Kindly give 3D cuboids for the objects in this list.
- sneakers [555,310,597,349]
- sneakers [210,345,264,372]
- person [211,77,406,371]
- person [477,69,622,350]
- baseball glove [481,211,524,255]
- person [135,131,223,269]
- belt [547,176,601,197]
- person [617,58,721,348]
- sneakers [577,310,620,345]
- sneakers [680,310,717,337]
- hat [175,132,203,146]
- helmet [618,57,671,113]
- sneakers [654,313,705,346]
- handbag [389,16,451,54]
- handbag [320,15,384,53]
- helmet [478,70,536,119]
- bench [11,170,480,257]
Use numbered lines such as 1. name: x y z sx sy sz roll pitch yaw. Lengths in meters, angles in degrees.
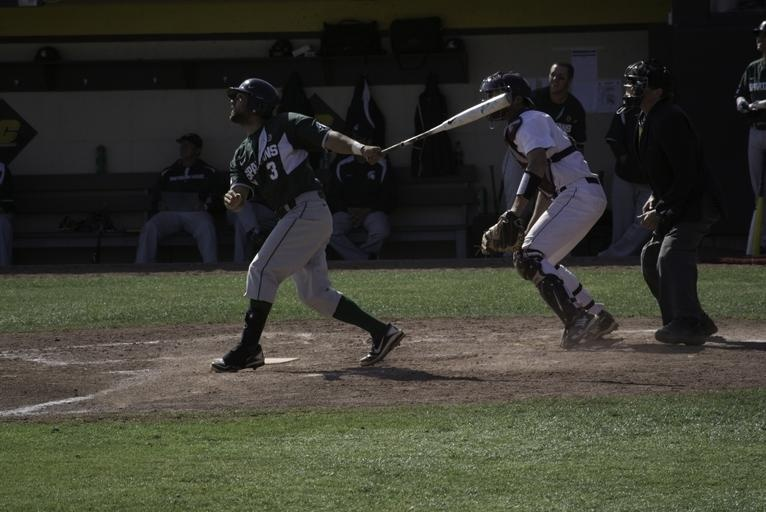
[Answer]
1. sneakers: 1.608 0.605 8.984 0.285 0.306 0.126 -1 14 -2
2. sneakers: -1.095 0.791 8.542 0.461 0.198 0.168 1 3 -15
3. person: -0.685 -0.250 8.656 1.346 2.196 0.857 -2 14 -8
4. person: 1.374 -0.369 9.146 1.050 2.235 0.966 -3 14 -10
5. baseball glove: 0.972 -0.184 9.189 0.396 0.175 0.296 -35 -11 24
6. person: -2.698 -0.586 14.622 1.053 1.226 0.910 -2 13 -8
7. belt: 1.559 -0.551 9.158 0.310 0.069 0.227 -19 -7 32
8. person: 2.370 -0.426 8.962 0.658 2.251 0.767 -3 14 -12
9. sneakers: 1.806 0.578 9.174 0.469 0.194 0.167 -25 -2 -45
10. sneakers: 2.587 0.513 8.943 0.122 0.275 0.130 -29 -9 -18
11. hat: -2.591 -1.559 14.930 0.368 0.150 0.247 6 -2 -11
12. helmet: 2.183 -1.407 9.030 0.411 0.340 0.312 5 12 1
13. sneakers: 2.411 0.617 8.963 0.420 0.202 0.177 3 -1 0
14. handbag: 0.667 -3.176 15.874 0.885 0.520 0.648 6 17 34
15. handbag: -0.444 -3.061 15.680 0.865 0.491 0.193 0 14 -2
16. helmet: 1.027 -1.412 9.205 0.389 0.282 0.276 -15 -4 11
17. bench: -2.940 -0.614 17.190 7.998 1.150 1.712 -2 0 1
